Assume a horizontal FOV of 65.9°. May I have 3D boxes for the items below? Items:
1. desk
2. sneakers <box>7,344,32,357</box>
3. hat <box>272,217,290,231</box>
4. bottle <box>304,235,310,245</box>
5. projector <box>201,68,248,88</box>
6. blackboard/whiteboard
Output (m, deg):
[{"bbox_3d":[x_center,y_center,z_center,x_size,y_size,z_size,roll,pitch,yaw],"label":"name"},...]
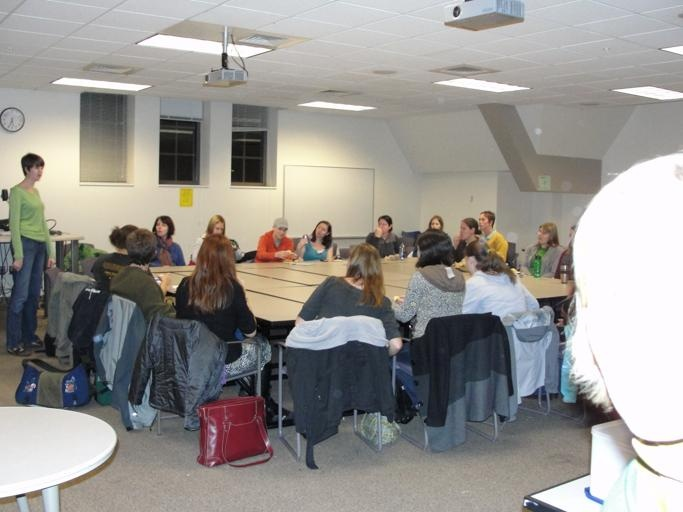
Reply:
[{"bbox_3d":[-2.953,0.159,5.202,1.003,1.008,0.767,-1,4,-41],"label":"desk"},{"bbox_3d":[-3.036,0.896,4.989,0.241,0.111,0.114,1,3,14],"label":"sneakers"},{"bbox_3d":[-0.756,-0.393,6.419,0.137,0.106,0.194,2,0,-20],"label":"hat"},{"bbox_3d":[-0.429,-0.209,6.585,0.059,0.116,0.109,0,-16,-3],"label":"bottle"},{"bbox_3d":[-1.064,-1.657,4.801,0.305,0.187,0.388,-1,7,-26],"label":"projector"},{"bbox_3d":[-0.313,-1.006,9.658,1.611,1.255,0.059,-1,2,-30],"label":"blackboard/whiteboard"}]
